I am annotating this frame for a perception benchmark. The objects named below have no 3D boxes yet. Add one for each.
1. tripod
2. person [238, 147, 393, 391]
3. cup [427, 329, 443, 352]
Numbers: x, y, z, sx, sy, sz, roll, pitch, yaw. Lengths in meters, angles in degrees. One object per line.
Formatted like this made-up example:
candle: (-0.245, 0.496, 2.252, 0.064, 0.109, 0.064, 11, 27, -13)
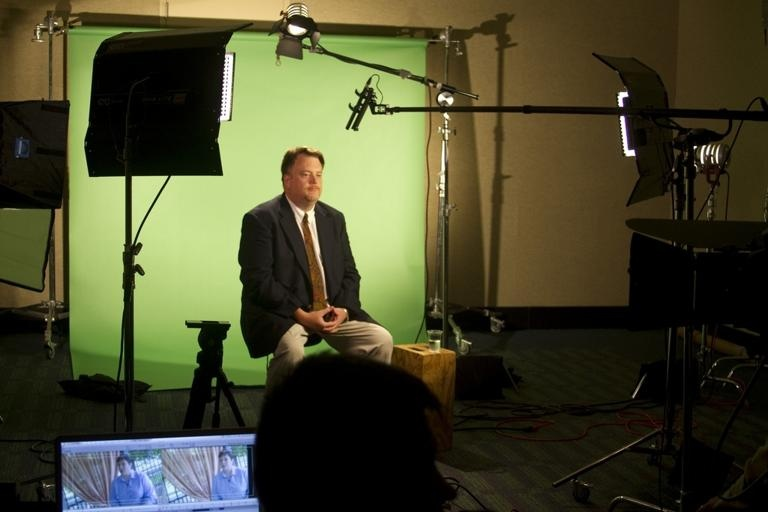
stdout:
tripod: (1.426, 0.475, 3.431, 0.587, 1.402, 0.589, 4, 14, 15)
person: (-0.493, -0.001, 4.500, 0.875, 1.332, 0.855, -3, 14, -15)
cup: (0.314, 0.523, 4.390, 0.084, 0.138, 0.226, 2, 14, 4)
